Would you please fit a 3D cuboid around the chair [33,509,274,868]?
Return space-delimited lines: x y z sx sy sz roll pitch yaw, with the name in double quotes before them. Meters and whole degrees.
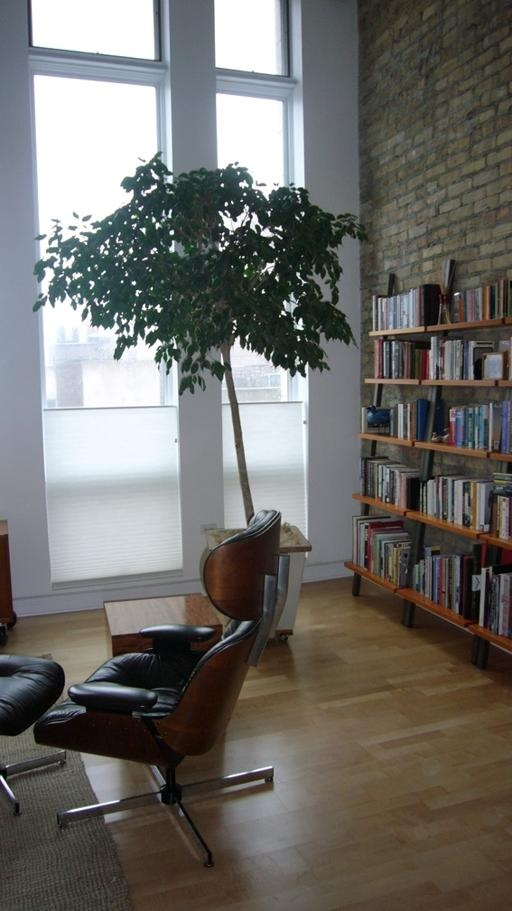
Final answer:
"chair" -0.277 0.590 2.261 0.788 1.325 0.810 6 7 9
